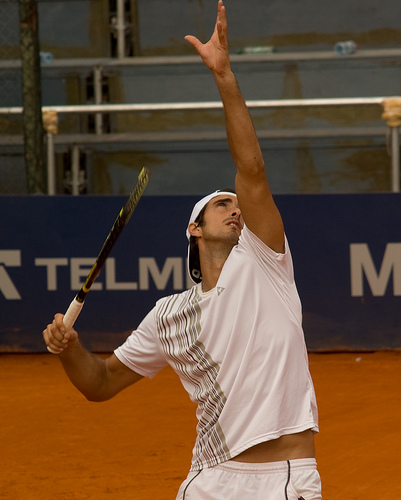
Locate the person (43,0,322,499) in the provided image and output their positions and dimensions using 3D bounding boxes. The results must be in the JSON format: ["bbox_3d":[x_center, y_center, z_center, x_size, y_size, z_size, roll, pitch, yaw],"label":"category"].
[{"bbox_3d":[0.066,0.017,3.534,0.535,2.096,0.985,-4,4,-32],"label":"person"}]
